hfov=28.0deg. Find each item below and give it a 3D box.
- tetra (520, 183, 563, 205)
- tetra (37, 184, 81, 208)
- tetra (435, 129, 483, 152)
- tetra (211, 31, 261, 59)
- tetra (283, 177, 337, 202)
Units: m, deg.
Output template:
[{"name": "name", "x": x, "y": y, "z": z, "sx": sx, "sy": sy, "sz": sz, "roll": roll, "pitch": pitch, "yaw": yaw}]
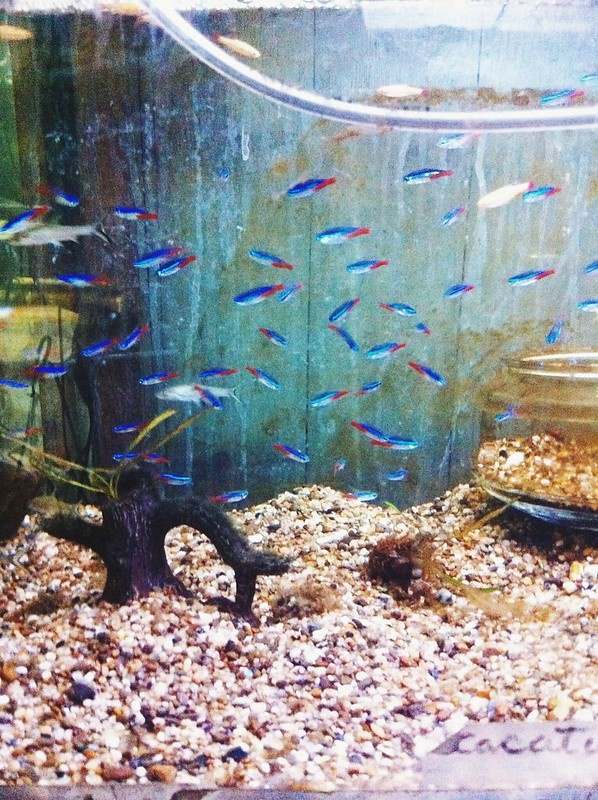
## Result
[{"name": "tetra", "x": 0.740, "y": -0.632, "z": 3.712, "sx": 0.148, "sy": 0.042, "sz": 0.057, "roll": -11, "pitch": 7, "yaw": -1}, {"name": "tetra", "x": -0.754, "y": -0.642, "z": 3.804, "sx": 0.123, "sy": 0.048, "sz": 0.025, "roll": 23, "pitch": 7, "yaw": -2}, {"name": "tetra", "x": 0.494, "y": -0.796, "z": 3.694, "sx": 0.120, "sy": 0.050, "sz": 0.022, "roll": -8, "pitch": 42, "yaw": 7}, {"name": "tetra", "x": -0.184, "y": -1.078, "z": 3.658, "sx": 0.111, "sy": 0.043, "sz": 0.018, "roll": 21, "pitch": 48, "yaw": 0}, {"name": "tetra", "x": 0.037, "y": -0.660, "z": 3.751, "sx": 0.164, "sy": 0.057, "sz": 0.054, "roll": -13, "pitch": 52, "yaw": 5}]
